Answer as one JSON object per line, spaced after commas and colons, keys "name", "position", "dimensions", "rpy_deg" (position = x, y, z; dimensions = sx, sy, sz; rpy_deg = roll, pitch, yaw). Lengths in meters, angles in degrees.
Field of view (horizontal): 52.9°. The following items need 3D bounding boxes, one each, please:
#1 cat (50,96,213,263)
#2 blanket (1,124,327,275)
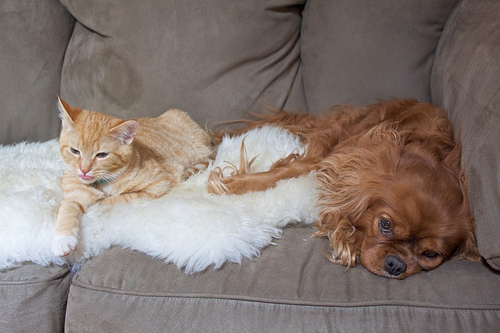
{"name": "cat", "position": [-0.669, 0.020, 2.681], "dimensions": [0.529, 0.515, 1.030], "rpy_deg": [23, 44, 15]}
{"name": "blanket", "position": [-0.460, 0.238, 2.455], "dimensions": [1.253, 0.228, 0.838], "rpy_deg": [-1, 34, -8]}
